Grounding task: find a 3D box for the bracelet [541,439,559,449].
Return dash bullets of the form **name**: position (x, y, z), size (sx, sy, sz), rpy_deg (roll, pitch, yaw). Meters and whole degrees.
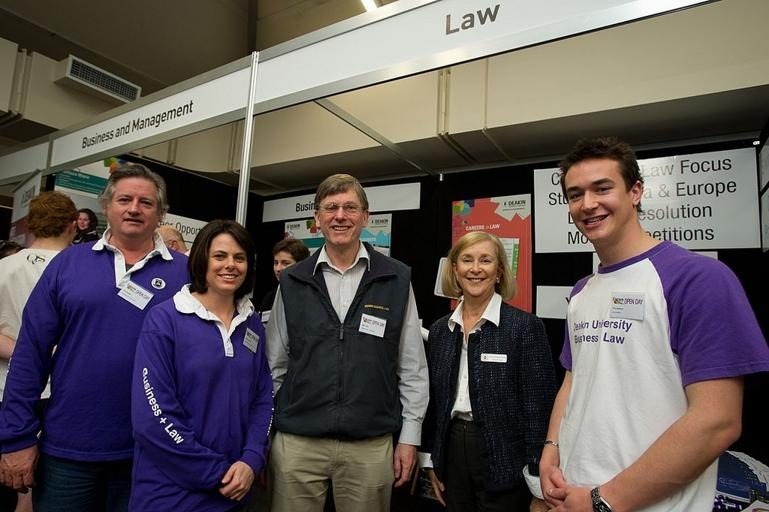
- **bracelet**: position (0.878, 0.985, 2.705), size (0.062, 0.051, 0.069), rpy_deg (17, -13, -34)
